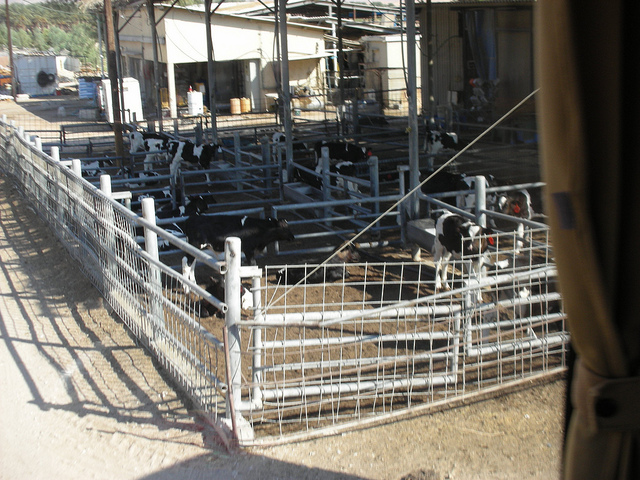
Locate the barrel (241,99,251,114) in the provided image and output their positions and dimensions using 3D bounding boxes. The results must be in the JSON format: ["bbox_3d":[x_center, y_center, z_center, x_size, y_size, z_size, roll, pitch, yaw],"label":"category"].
[{"bbox_3d":[-3.091,-5.607,31.800,0.356,0.525,0.611,-3,14,0],"label":"barrel"}]

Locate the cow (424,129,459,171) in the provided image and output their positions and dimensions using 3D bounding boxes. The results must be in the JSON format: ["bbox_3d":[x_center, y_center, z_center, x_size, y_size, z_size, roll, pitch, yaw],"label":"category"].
[{"bbox_3d":[2.223,-1.563,13.625,0.827,0.812,0.240,4,-4,-16],"label":"cow"}]

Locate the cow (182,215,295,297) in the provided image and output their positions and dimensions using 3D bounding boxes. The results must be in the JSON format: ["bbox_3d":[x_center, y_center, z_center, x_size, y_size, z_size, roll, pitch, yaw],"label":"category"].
[{"bbox_3d":[-0.955,0.035,8.354,1.297,0.859,0.388,3,38,1],"label":"cow"}]

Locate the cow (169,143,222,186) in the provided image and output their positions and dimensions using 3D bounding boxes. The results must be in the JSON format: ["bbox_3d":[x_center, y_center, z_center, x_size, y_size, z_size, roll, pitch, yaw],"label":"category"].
[{"bbox_3d":[-2.153,-1.454,14.246,1.185,0.995,0.534,-1,9,-8],"label":"cow"}]

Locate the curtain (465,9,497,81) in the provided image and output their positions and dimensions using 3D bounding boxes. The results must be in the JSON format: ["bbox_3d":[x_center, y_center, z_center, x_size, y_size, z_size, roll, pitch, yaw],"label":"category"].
[{"bbox_3d":[3.810,-4.530,17.758,0.675,1.827,0.276,-7,-21,10],"label":"curtain"}]

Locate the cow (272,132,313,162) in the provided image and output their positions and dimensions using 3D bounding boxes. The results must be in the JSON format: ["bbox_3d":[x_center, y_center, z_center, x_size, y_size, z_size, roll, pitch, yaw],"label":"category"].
[{"bbox_3d":[-0.578,-1.812,15.482,0.668,0.238,0.805,1,40,-5],"label":"cow"}]

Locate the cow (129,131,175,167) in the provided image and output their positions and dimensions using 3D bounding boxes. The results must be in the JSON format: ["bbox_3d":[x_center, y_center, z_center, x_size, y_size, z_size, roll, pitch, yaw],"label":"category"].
[{"bbox_3d":[-3.578,-1.976,16.043,1.282,0.871,0.435,-5,18,-19],"label":"cow"}]

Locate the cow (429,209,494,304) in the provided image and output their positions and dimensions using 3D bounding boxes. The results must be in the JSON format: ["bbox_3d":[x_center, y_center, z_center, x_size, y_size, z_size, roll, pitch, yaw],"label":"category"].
[{"bbox_3d":[1.410,0.175,7.893,0.976,0.768,0.246,14,-12,-28],"label":"cow"}]
